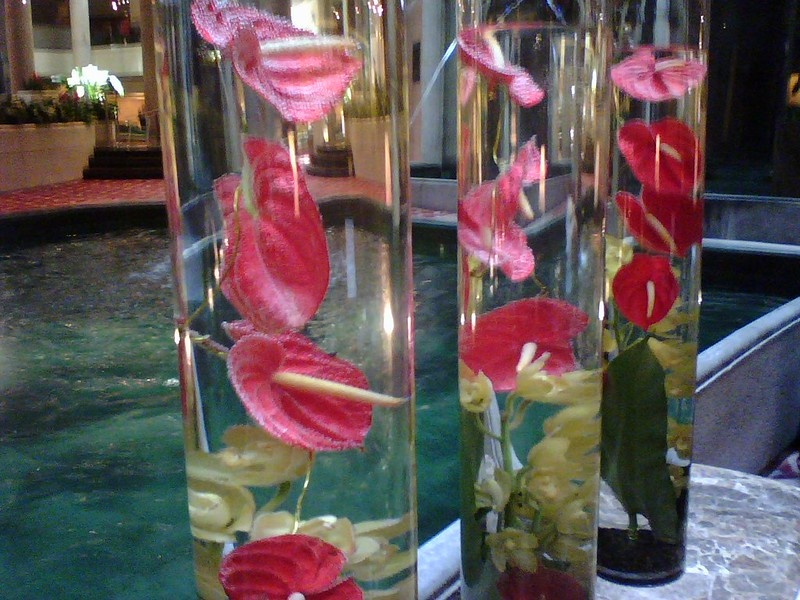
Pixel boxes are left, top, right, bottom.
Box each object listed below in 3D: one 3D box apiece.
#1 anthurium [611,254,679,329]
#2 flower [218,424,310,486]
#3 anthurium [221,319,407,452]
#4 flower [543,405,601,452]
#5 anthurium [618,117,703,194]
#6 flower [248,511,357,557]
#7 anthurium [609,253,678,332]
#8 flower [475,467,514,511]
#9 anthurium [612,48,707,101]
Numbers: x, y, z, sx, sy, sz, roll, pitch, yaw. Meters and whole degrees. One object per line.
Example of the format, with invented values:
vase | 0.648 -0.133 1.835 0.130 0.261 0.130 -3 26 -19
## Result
anthurium | 0.206 -0.008 0.534 0.051 0.062 0.022 2 1 4
flower | -0.048 0.056 0.236 0.030 0.020 0.009 4 15 5
anthurium | -0.028 0.026 0.207 0.051 0.037 0.019 27 -14 -17
flower | 0.096 0.076 0.378 0.032 0.022 0.008 14 10 -11
anthurium | 0.206 -0.116 0.520 0.052 0.065 0.023 -37 2 20
flower | -0.034 0.085 0.239 0.029 0.018 0.008 3 14 -9
anthurium | 0.205 -0.006 0.534 0.053 0.062 0.022 2 0 3
flower | 0.063 0.115 0.399 0.026 0.026 0.009 -12 17 28
anthurium | 0.209 -0.179 0.520 0.078 0.043 0.023 -7 10 -12
